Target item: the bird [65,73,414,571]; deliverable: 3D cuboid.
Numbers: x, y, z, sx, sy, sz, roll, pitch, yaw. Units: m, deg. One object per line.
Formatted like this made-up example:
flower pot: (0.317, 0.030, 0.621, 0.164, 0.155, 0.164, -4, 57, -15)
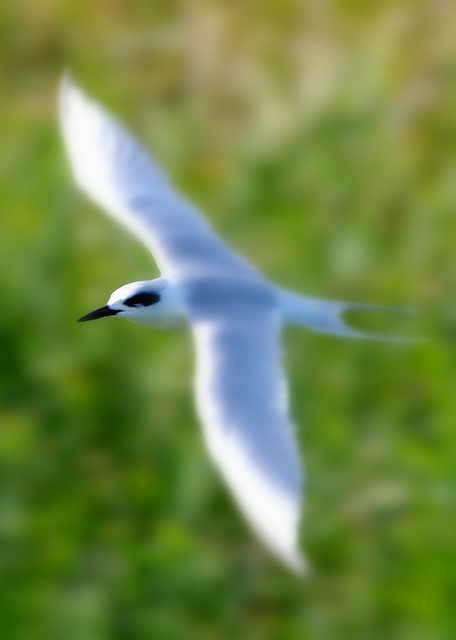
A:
bird: (-0.030, -0.065, 1.996, 0.572, 0.873, 1.248, -6, 20, -22)
